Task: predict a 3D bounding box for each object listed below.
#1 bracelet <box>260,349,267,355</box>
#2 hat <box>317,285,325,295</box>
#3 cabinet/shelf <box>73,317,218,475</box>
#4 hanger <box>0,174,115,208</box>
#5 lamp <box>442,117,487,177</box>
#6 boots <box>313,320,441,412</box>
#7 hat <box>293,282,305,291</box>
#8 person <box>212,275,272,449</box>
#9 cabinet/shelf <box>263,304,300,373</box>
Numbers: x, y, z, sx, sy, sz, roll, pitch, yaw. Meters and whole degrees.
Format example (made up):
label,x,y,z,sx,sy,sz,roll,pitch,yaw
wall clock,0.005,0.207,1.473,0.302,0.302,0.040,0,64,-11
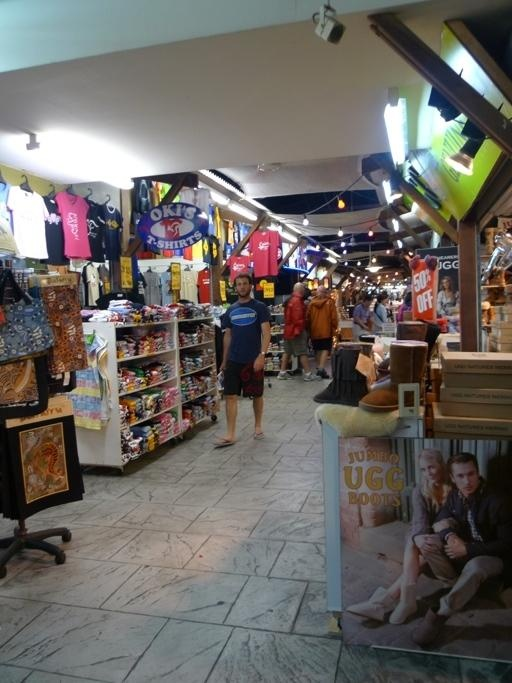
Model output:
label,x,y,z,sx,sy,sz,roll,pitch,yaw
bracelet,0.086,0.109,4.957,0.040,0.050,0.030,-5,24,1
hat,1.205,-0.940,9.189,0.141,0.166,0.171,-3,5,4
cabinet/shelf,-1.050,0.534,4.622,0.475,0.890,1.416,-1,7,10
hanger,-1.981,-1.501,4.899,0.890,0.283,0.062,-18,-15,-42
lamp,1.217,-1.135,2.890,0.162,0.250,0.454,-3,4,17
boots,0.650,0.111,2.155,0.259,0.326,0.823,8,4,44
hat,0.808,-1.025,9.306,0.188,0.149,0.263,-3,4,9
person,-0.138,0.186,5.120,0.624,1.739,0.495,-3,4,7
cabinet/shelf,0.491,0.009,9.041,0.527,1.341,1.507,0,2,27
